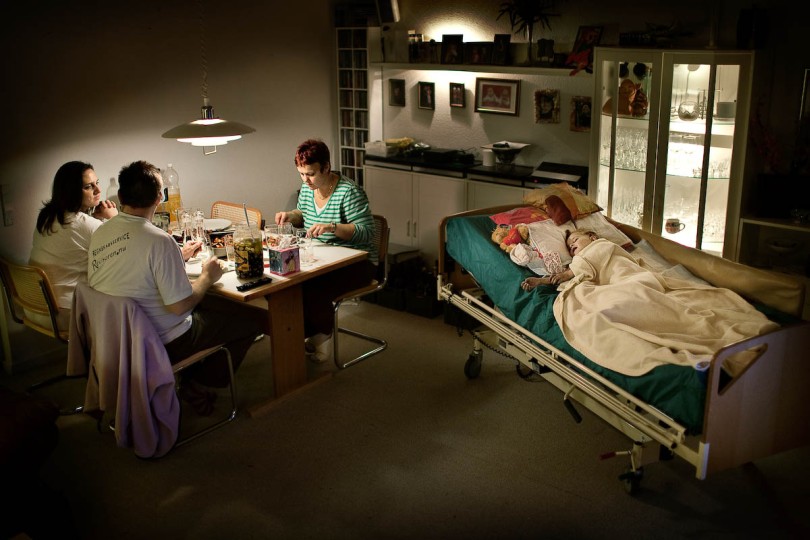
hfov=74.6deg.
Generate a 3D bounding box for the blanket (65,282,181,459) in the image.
[{"bbox_3d":[-1.736,0.553,3.222,0.909,0.902,0.385,19,20,30],"label":"blanket"}]

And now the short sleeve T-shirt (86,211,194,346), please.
[{"bbox_3d":[-1.563,0.010,3.146,0.748,0.669,0.416,10,18,19],"label":"short sleeve T-shirt"}]

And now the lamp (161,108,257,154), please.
[{"bbox_3d":[-1.321,-0.989,3.580,0.431,0.265,0.396,5,17,27],"label":"lamp"}]

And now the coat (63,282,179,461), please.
[{"bbox_3d":[-1.730,0.558,3.238,0.940,0.927,0.406,18,20,30],"label":"coat"}]

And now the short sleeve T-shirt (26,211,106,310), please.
[{"bbox_3d":[-2.148,-0.050,3.384,0.534,0.595,0.342,11,11,37],"label":"short sleeve T-shirt"}]

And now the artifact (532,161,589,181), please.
[{"bbox_3d":[1.419,-0.898,4.821,0.456,0.135,0.596,2,16,18],"label":"artifact"}]

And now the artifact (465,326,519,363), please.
[{"bbox_3d":[0.630,0.523,3.710,0.242,0.091,0.371,-23,36,-37],"label":"artifact"}]

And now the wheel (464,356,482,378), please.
[{"bbox_3d":[0.498,0.702,3.833,0.047,0.122,0.135,16,-5,44],"label":"wheel"}]

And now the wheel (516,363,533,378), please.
[{"bbox_3d":[0.864,0.706,3.828,0.117,0.029,0.116,-2,18,1],"label":"wheel"}]

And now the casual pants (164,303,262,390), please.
[{"bbox_3d":[-1.206,0.588,3.472,0.645,0.303,0.481,15,32,32],"label":"casual pants"}]

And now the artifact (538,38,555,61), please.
[{"bbox_3d":[1.264,-1.971,4.755,0.165,0.231,0.128,11,19,40],"label":"artifact"}]

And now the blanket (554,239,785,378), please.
[{"bbox_3d":[1.345,0.267,3.008,0.738,0.226,0.725,-29,32,-36],"label":"blanket"}]

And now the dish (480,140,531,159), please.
[{"bbox_3d":[1.002,-1.186,5.149,0.305,0.134,0.424,11,21,42],"label":"dish"}]

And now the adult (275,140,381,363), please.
[{"bbox_3d":[-0.612,-0.164,4.107,0.736,1.611,0.781,6,10,25],"label":"adult"}]

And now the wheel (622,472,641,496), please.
[{"bbox_3d":[1.243,1.171,2.914,0.062,0.059,0.140,-5,-29,0],"label":"wheel"}]

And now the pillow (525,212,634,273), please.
[{"bbox_3d":[1.189,-0.252,3.754,0.577,0.147,0.444,-17,36,-16],"label":"pillow"}]
